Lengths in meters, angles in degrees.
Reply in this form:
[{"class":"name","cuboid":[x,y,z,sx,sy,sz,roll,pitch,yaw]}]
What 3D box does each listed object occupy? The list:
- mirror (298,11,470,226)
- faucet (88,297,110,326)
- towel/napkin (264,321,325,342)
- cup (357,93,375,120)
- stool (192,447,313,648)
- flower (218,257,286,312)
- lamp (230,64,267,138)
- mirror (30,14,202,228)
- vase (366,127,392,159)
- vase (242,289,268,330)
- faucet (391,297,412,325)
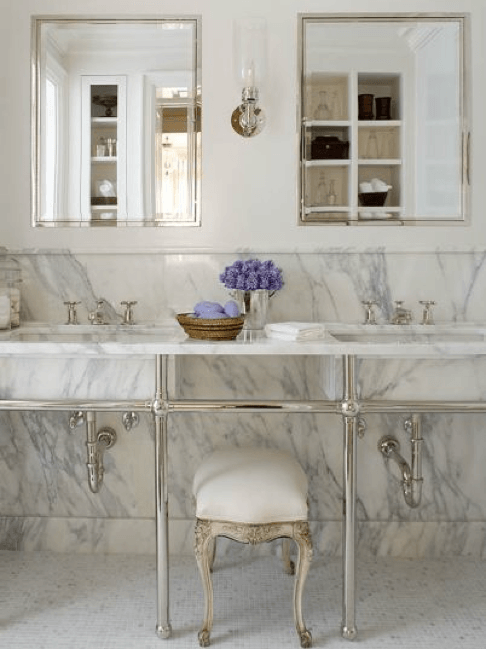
[{"class":"mirror","cuboid":[0.479,-0.747,2.650,0.690,0.873,0.095,0,2,-2]},{"class":"faucet","cuboid":[-0.502,-0.050,2.626,0.084,0.127,0.072,1,-3,-18]},{"class":"towel/napkin","cuboid":[0.140,0.025,2.191,0.174,0.054,0.137,2,14,9]},{"class":"cup","cuboid":[0.426,-0.754,2.650,0.070,0.100,0.078,2,3,3]},{"class":"stool","cuboid":[0.028,0.625,2.267,0.342,0.464,0.421,1,13,1]},{"class":"flower","cuboid":[0.024,-0.113,2.501,0.183,0.191,0.176,2,-1,-31]},{"class":"lamp","cuboid":[0.027,-0.762,2.596,0.108,0.251,0.125,-5,14,-21]},{"class":"mirror","cuboid":[-0.440,-0.740,2.652,0.691,0.885,0.043,0,5,3]},{"class":"vase","cuboid":[0.472,-0.635,2.657,0.102,0.105,0.056,0,-1,2]},{"class":"vase","cuboid":[0.041,-0.051,2.439,0.104,0.151,0.118,-1,4,-19]},{"class":"faucet","cuboid":[0.543,-0.052,2.617,0.072,0.108,0.078,0,-1,-15]}]
